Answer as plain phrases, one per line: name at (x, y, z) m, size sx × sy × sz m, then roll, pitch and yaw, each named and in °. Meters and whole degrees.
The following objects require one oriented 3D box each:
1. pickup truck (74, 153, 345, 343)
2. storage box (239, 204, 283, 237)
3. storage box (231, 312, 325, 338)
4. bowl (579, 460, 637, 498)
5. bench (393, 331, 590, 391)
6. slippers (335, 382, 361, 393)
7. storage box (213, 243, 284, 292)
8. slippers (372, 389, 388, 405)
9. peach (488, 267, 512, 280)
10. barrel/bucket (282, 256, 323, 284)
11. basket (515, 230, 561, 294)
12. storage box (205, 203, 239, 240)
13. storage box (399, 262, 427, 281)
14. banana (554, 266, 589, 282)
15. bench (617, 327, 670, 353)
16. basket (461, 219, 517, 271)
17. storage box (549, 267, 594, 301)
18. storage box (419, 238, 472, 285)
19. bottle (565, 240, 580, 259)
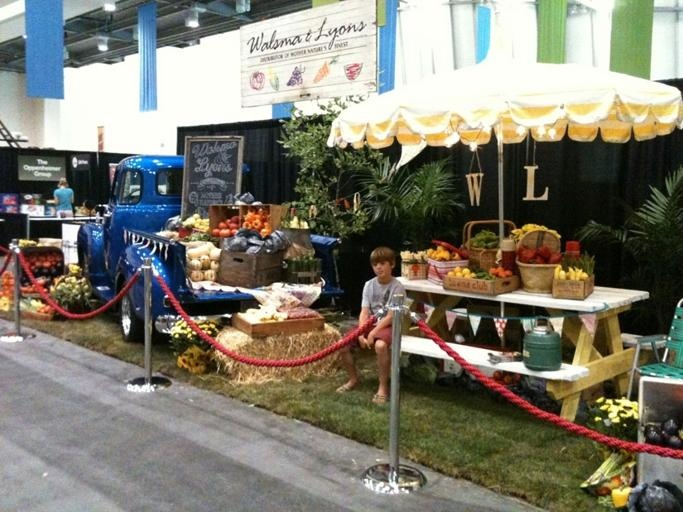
pickup truck at (-2.329, -0.222, 8.058) m, size 2.121 × 1.713 × 3.568 m, roll -3°, pitch 10°, yaw -28°
storage box at (-1.101, -0.443, 7.648) m, size 0.444 × 0.391 × 0.347 m, roll 0°, pitch 2°, yaw -2°
storage box at (-0.615, 0.732, 6.296) m, size 0.905 × 0.202 × 0.303 m, roll -2°, pitch 11°, yaw -10°
bowl at (1.898, 1.594, 4.228) m, size 0.352 × 0.160 × 0.263 m, roll -20°, pitch -9°, yaw 6°
bench at (1.340, 1.015, 5.544) m, size 1.693 × 0.373 × 0.675 m, roll 8°, pitch 14°, yaw 38°
slippers at (0.052, 1.286, 5.922) m, size 0.202 × 0.080 × 0.077 m, roll 4°, pitch -3°, yaw -32°
storage box at (-1.080, 0.136, 7.298) m, size 0.737 × 0.356 × 0.718 m, roll -5°, pitch 11°, yaw -41°
slippers at (0.357, 1.314, 5.604) m, size 0.144 × 0.061 × 0.168 m, roll 1°, pitch 11°, yaw 8°
peach at (1.484, 0.166, 5.649) m, size 0.146 × 0.070 × 0.144 m, roll 5°, pitch 0°, yaw -33°
barrel/bucket at (-0.435, 0.177, 7.276) m, size 0.349 × 0.211 × 0.336 m, roll 0°, pitch 0°, yaw 0°
basket at (1.855, 0.069, 5.665) m, size 0.428 × 0.519 × 0.500 m, roll 5°, pitch 17°, yaw 20°
storage box at (-1.520, -0.444, 7.942) m, size 0.457 × 0.431 × 0.451 m, roll 1°, pitch 2°, yaw 3°
storage box at (0.757, 0.159, 6.353) m, size 0.187 × 0.111 × 0.181 m, roll 1°, pitch 0°, yaw -26°
banana at (2.044, 0.159, 5.386) m, size 0.238 × 0.138 × 0.146 m, roll 2°, pitch -3°, yaw 12°
bench at (2.916, 0.815, 5.819) m, size 0.221 × 0.260 × 0.278 m, roll -4°, pitch 5°, yaw -23°
basket at (1.526, -0.069, 6.161) m, size 0.452 × 0.603 × 0.647 m, roll 1°, pitch -7°, yaw 9°
storage box at (2.049, 0.226, 5.378) m, size 0.296 × 0.185 × 0.307 m, roll 3°, pitch 6°, yaw 33°
storage box at (1.087, 0.048, 6.152) m, size 0.442 × 0.442 × 0.359 m, roll -7°, pitch 11°, yaw -26°
bottle at (2.220, -0.059, 5.818) m, size 0.182 × 0.164 × 0.177 m, roll -5°, pitch 8°, yaw -45°
